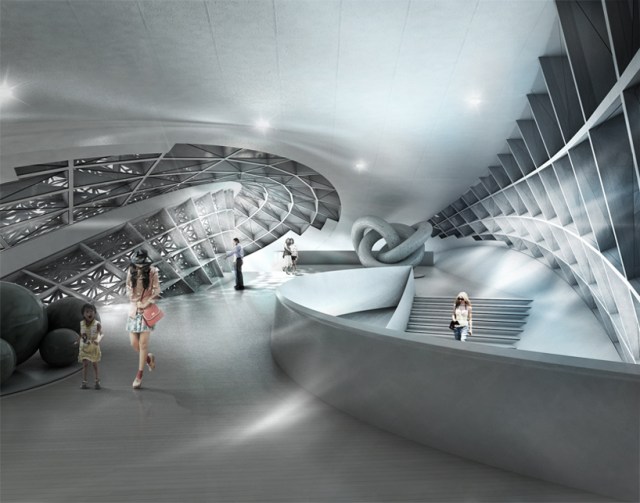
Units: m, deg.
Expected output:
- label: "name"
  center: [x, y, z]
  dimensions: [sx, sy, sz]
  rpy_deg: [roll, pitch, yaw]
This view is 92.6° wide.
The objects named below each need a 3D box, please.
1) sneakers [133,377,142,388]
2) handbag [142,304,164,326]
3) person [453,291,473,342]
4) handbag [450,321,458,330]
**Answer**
- label: "sneakers"
  center: [-4.122, 2.903, 6.863]
  dimensions: [0.128, 0.144, 0.359]
  rpy_deg: [6, 10, -14]
- label: "handbag"
  center: [-3.761, 1.433, 6.786]
  dimensions: [0.366, 0.569, 0.261]
  rpy_deg: [0, -1, -29]
- label: "person"
  center: [5.514, 2.531, 11.916]
  dimensions: [0.652, 1.932, 0.847]
  rpy_deg: [-1, -1, 23]
- label: "handbag"
  center: [5.151, 2.855, 11.871]
  dimensions: [0.236, 0.327, 0.466]
  rpy_deg: [-1, -1, -7]
